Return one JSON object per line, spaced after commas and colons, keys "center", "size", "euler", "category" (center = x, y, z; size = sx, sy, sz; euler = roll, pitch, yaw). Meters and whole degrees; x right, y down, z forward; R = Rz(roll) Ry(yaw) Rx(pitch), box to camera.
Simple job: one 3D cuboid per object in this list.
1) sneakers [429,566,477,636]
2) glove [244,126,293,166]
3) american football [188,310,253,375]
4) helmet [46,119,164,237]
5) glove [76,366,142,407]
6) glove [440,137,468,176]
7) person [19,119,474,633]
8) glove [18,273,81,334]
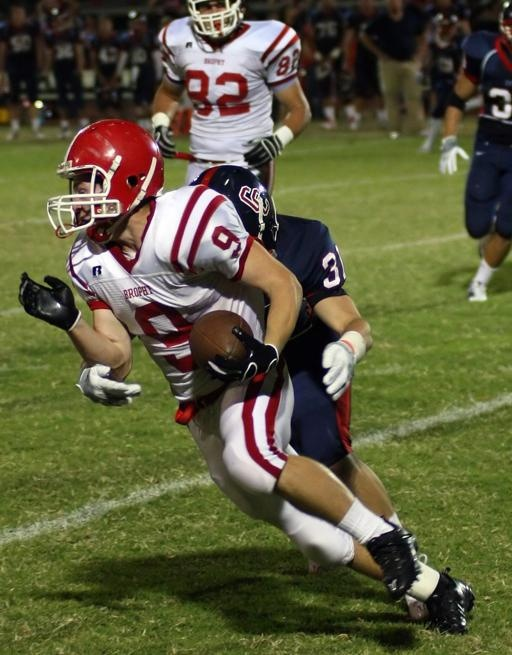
{"center": [0.430, 0.622, 1.741], "size": [0.102, 0.062, 0.154], "euler": [34, 18, -4], "category": "sneakers"}
{"center": [0.075, -0.813, 3.413], "size": [0.278, 0.143, 0.110], "euler": [-15, 1, -22], "category": "glove"}
{"center": [-0.076, 0.026, 1.540], "size": [0.124, 0.089, 0.133], "euler": [1, -1, -7], "category": "american football"}
{"center": [-0.404, -0.344, 1.796], "size": [0.375, 0.275, 0.251], "euler": [-5, 4, -18], "category": "helmet"}
{"center": [-0.332, 0.138, 1.691], "size": [0.117, 0.118, 0.137], "euler": [-4, 15, -20], "category": "glove"}
{"center": [0.678, -0.576, 2.585], "size": [0.119, 0.116, 0.044], "euler": [-14, -17, 33], "category": "glove"}
{"center": [-0.033, 0.124, 1.703], "size": [1.006, 1.157, 0.389], "euler": [6, 16, 18], "category": "person"}
{"center": [-0.463, -0.053, 1.677], "size": [0.118, 0.139, 0.185], "euler": [-4, 15, -21], "category": "glove"}
